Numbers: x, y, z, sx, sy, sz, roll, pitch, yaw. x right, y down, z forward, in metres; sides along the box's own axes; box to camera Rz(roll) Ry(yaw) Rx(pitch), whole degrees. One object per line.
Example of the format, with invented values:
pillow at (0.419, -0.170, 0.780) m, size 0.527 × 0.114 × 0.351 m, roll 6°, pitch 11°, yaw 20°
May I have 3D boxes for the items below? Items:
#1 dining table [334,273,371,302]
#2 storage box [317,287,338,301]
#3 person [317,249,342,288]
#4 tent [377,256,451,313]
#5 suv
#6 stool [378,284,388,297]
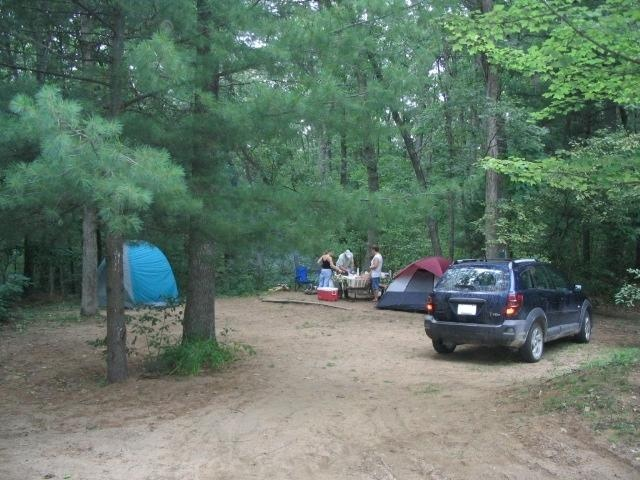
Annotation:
dining table at (1.245, 1.703, 21.845) m, size 0.825 × 0.779 × 1.142 m, roll 0°, pitch 3°, yaw 10°
storage box at (0.306, 1.929, 21.341) m, size 0.380 × 0.346 × 0.623 m, roll 4°, pitch -2°, yaw -35°
person at (0.325, 1.112, 22.244) m, size 0.751 × 1.316 × 1.869 m, roll -1°, pitch -2°, yaw 2°
tent at (2.865, 1.369, 18.352) m, size 1.674 × 0.842 × 1.764 m, roll 0°, pitch -2°, yaw 29°
suv at (3.989, 1.318, 12.252) m, size 1.690 × 1.413 × 3.029 m, roll -3°, pitch 0°, yaw 43°
stool at (2.210, 1.782, 21.211) m, size 0.330 × 0.434 × 0.386 m, roll -2°, pitch 5°, yaw 0°
